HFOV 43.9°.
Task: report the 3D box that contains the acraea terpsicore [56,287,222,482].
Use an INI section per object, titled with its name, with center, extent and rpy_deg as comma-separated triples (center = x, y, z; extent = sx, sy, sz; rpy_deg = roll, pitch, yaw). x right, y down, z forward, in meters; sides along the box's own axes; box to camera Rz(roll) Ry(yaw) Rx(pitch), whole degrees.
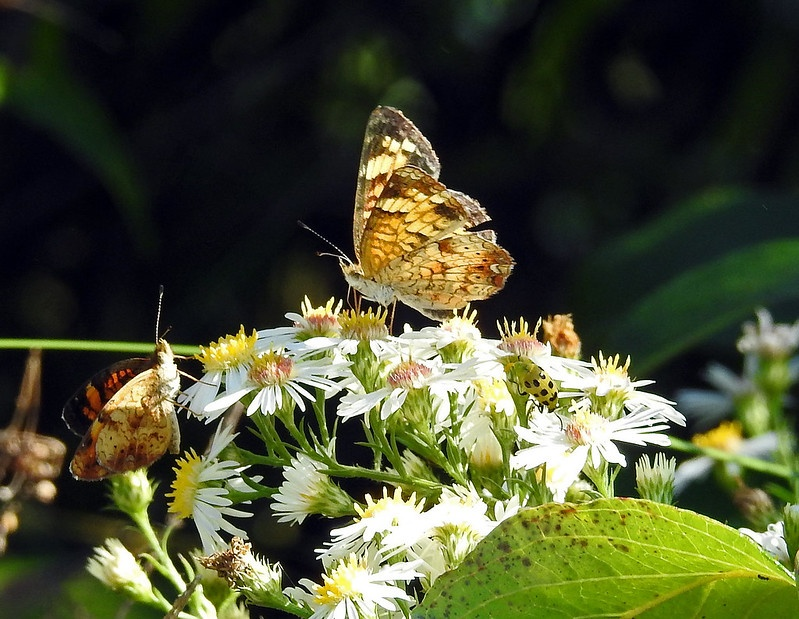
[acraea terpsicore]
center = -0.914, 0.301, 3.265
extent = 0.508, 0.711, 0.357
rpy_deg = 2, -3, -15
